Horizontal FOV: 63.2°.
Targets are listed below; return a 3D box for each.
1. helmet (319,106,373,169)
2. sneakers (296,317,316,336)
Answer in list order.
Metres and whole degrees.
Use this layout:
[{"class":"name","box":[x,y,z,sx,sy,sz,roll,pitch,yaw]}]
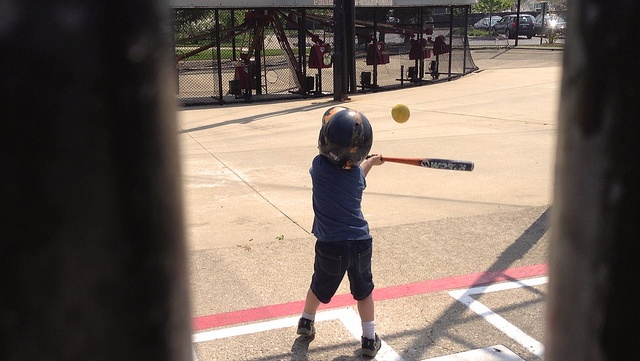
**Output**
[{"class":"helmet","box":[0.185,-0.283,3.424,0.362,0.360,0.464,-4,11,-30]},{"class":"sneakers","box":[-0.101,0.998,3.552,0.073,0.080,0.180,2,1,6]}]
